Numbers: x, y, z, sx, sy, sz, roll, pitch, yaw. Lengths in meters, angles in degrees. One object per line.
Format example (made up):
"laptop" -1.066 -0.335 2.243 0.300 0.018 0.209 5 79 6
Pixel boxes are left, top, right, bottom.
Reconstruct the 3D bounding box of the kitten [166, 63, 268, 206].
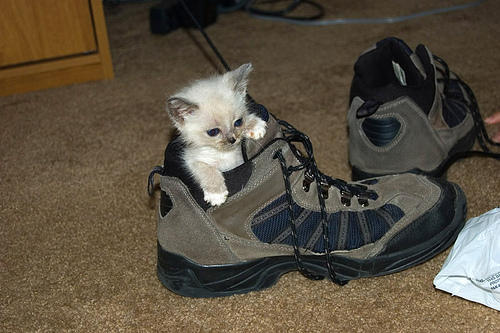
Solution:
"kitten" -0.135 -0.044 1.380 0.346 0.388 0.310 1 33 -15
